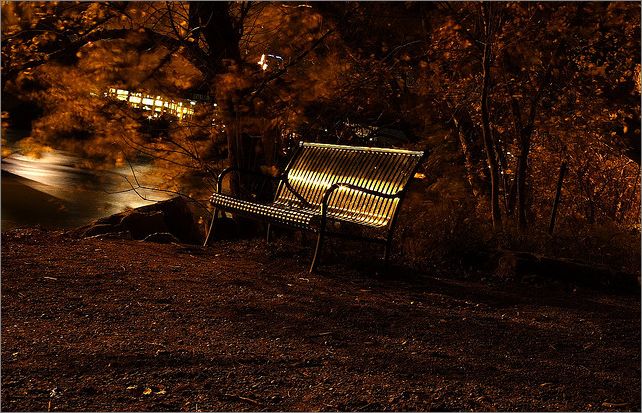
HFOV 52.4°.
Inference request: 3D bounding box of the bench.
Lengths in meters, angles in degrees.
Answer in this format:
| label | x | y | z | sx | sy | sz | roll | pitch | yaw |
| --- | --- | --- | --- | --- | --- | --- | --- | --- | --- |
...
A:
| label | x | y | z | sx | sy | sz | roll | pitch | yaw |
| --- | --- | --- | --- | --- | --- | --- | --- | --- | --- |
| bench | -0.190 | -0.099 | 9.556 | 2.847 | 1.748 | 1.748 | 16 | 19 | 42 |
